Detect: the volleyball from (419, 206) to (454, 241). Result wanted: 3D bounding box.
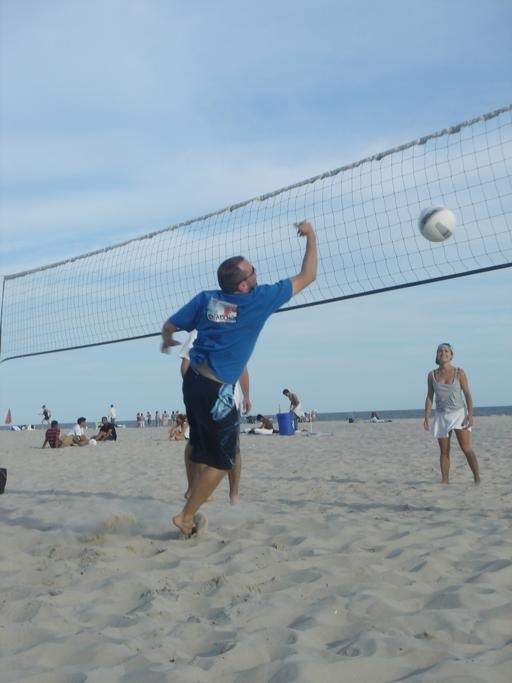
[{"bbox_3d":[1.185,-0.764,3.958,0.232,0.228,0.184,-4,-6,5],"label":"volleyball"}]

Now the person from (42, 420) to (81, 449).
[{"bbox_3d":[-3.774,1.778,11.685,0.651,0.516,1.830,-2,-6,-19],"label":"person"}]

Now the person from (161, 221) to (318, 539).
[{"bbox_3d":[-0.082,0.173,2.651,0.773,1.373,0.373,-5,-6,8],"label":"person"}]
